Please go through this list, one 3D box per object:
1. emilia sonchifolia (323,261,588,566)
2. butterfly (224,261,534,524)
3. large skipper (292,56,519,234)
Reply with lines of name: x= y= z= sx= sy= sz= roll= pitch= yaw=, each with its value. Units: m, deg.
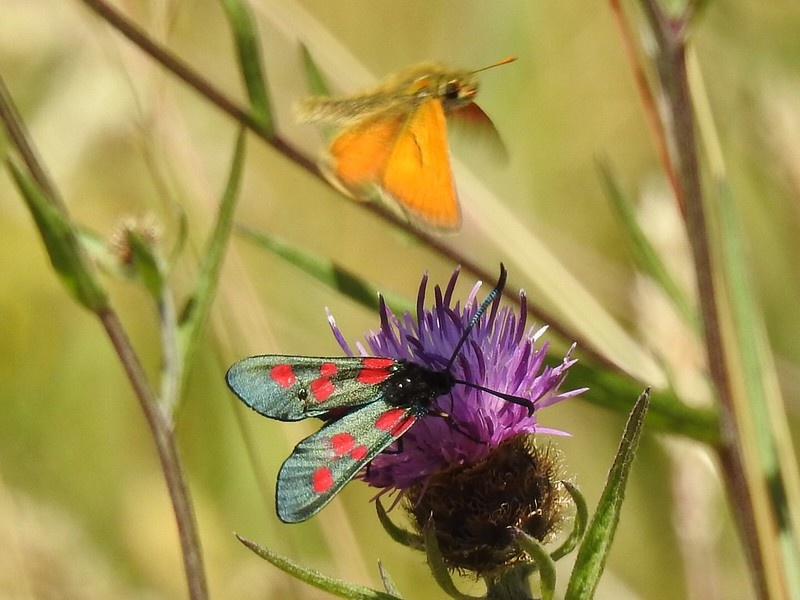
emilia sonchifolia: x=0.156 y=0.275 z=2.325 sx=0.538 sy=0.584 sz=0.564 roll=6 pitch=29 yaw=-39
butterfly: x=-0.105 y=0.208 z=2.115 sx=0.464 sy=0.459 sz=0.208 roll=-20 pitch=5 yaw=-15
large skipper: x=0.006 y=-0.357 z=2.381 sx=0.414 sy=0.215 sz=0.458 roll=17 pitch=45 yaw=-10
